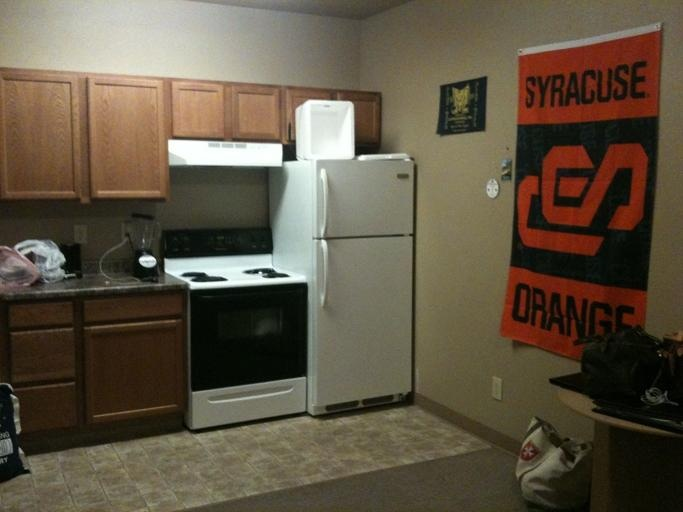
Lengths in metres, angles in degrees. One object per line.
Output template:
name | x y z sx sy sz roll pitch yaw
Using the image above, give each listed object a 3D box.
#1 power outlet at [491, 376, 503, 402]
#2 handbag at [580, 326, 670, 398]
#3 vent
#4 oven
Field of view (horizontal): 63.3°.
power outlet | 1.053 0.903 3.795 0.008 0.172 0.098 -5 10 -35
handbag | 1.357 0.520 2.781 0.381 0.290 0.385 -7 0 -23
vent | -0.845 -0.769 4.104 0.816 0.181 0.131 -3 9 -18
oven | -0.724 0.589 4.355 1.048 1.331 0.843 0 -1 -29
